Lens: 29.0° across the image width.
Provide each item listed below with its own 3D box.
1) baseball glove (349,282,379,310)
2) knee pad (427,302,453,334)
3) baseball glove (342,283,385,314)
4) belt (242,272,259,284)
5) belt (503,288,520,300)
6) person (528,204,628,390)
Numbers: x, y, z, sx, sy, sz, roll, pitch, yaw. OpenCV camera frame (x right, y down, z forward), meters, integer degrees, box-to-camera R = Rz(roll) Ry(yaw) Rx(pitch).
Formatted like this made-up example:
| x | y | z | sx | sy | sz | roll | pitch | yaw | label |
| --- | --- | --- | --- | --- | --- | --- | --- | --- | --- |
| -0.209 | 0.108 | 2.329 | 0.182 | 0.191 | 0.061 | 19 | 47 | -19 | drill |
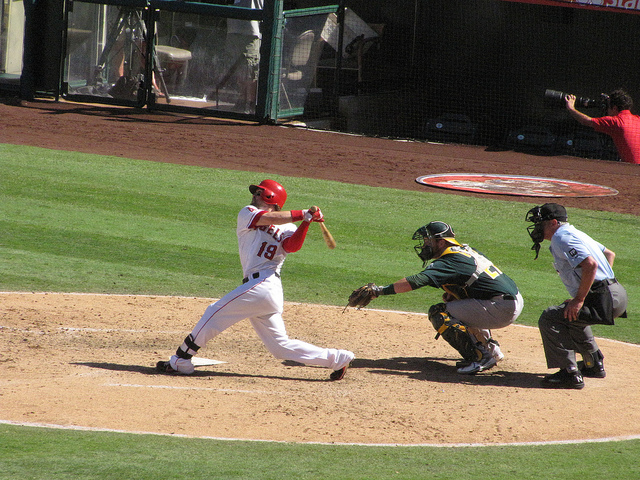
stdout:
| x | y | z | sx | sy | sz | roll | pitch | yaw | label |
| --- | --- | --- | --- | --- | --- | --- | --- | --- | --- |
| 0.569 | 0.707 | 15.812 | 0.399 | 0.235 | 0.171 | -32 | -17 | 9 | baseball glove |
| 1.564 | 1.018 | 15.990 | 0.224 | 0.391 | 0.295 | 2 | 6 | -28 | knee pad |
| 0.557 | 0.703 | 15.844 | 0.471 | 0.249 | 0.204 | -17 | 7 | 10 | baseball glove |
| -0.858 | 0.469 | 15.370 | 0.181 | 0.057 | 0.126 | -30 | 0 | -3 | belt |
| 2.470 | 0.702 | 15.921 | 0.205 | 0.078 | 0.243 | -1 | 0 | 12 | belt |
| 3.250 | 0.728 | 15.773 | 1.325 | 2.319 | 0.699 | 6 | 5 | 6 | person |
